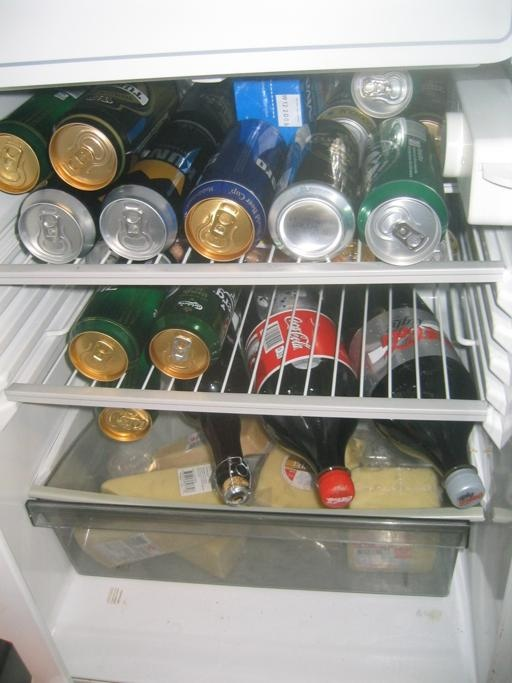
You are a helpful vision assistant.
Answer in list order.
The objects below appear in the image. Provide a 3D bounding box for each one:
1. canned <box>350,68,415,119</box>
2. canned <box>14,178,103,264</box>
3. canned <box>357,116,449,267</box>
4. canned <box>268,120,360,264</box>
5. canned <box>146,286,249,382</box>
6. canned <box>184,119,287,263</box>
[{"bbox_3d":[0.193,-0.356,0.788,0.103,0.068,0.047,-22,36,-22],"label":"canned"},{"bbox_3d":[-0.240,-0.149,0.663,0.083,0.082,0.138,15,9,-7],"label":"canned"},{"bbox_3d":[0.170,-0.182,0.638,0.099,0.099,0.177,-19,38,29],"label":"canned"},{"bbox_3d":[0.070,-0.182,0.666,0.106,0.103,0.184,7,66,-23],"label":"canned"},{"bbox_3d":[-0.086,-0.030,0.766,0.095,0.103,0.168,-1,33,9],"label":"canned"},{"bbox_3d":[-0.027,-0.183,0.648,0.110,0.106,0.195,14,6,-6],"label":"canned"}]
